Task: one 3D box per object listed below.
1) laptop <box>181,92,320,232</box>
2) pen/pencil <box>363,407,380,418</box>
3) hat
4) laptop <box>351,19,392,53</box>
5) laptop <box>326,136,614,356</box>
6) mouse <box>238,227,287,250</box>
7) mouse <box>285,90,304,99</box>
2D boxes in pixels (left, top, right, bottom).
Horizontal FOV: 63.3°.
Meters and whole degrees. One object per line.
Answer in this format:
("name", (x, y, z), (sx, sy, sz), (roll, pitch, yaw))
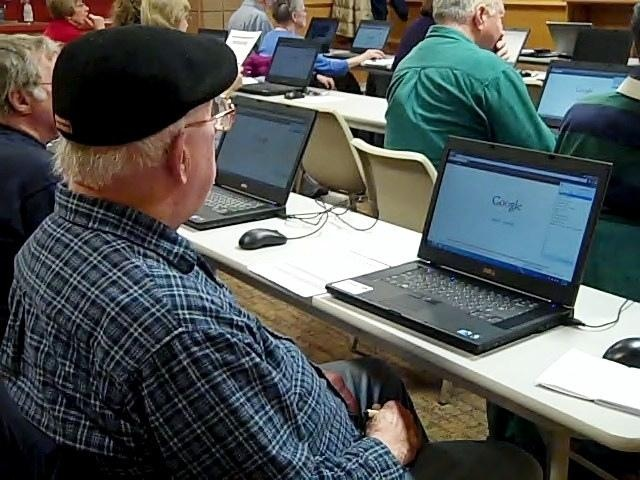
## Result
("laptop", (-0.381, -0.335, 2.037), (0.554, 0.410, 0.587), (-7, 20, -38))
("pen/pencil", (0.125, 0.418, 1.259), (0.024, 0.024, 0.006), (9, 13, 16))
("hat", (-0.310, -0.324, 0.948), (0.348, 0.173, 0.253), (-28, 36, -30))
("laptop", (0.739, -2.915, 7.423), (0.745, 0.506, 0.596), (15, 26, 30))
("laptop", (0.370, -0.031, 1.379), (0.497, 0.406, 0.553), (-7, 15, -27))
("mouse", (-0.190, -0.003, 1.728), (0.129, 0.049, 0.071), (-7, 18, -32))
("mouse", (-0.204, -1.207, 4.316), (0.161, 0.062, 0.108), (-15, 30, -26))
